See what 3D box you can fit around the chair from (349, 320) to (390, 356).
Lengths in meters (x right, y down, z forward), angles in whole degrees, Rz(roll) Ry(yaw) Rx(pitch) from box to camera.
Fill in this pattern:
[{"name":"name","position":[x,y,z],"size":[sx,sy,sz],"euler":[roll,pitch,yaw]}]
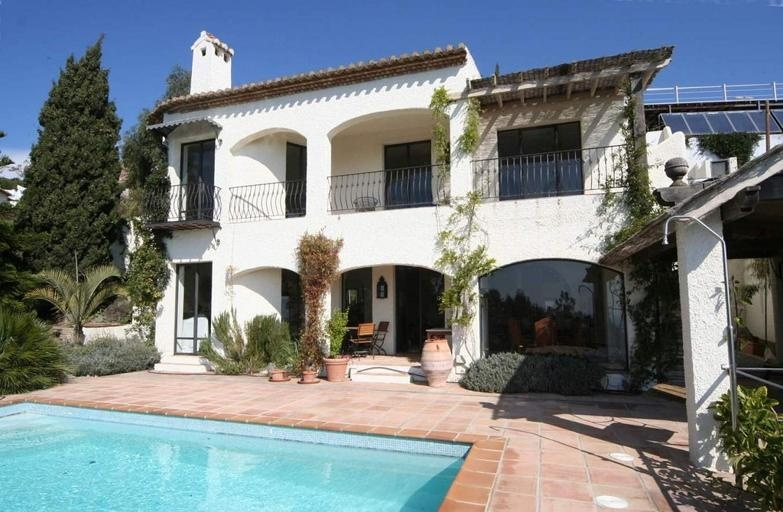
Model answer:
[{"name":"chair","position":[-0.683,2.955,21.825],"size":[1.249,1.698,1.171],"euler":[1,-2,-24]}]

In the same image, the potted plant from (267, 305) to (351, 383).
[{"name":"potted plant","position":[-2.626,2.930,20.407],"size":[2.023,1.938,0.876],"euler":[-1,-9,1]}]

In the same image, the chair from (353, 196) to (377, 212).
[{"name":"chair","position":[-0.863,-1.844,21.857],"size":[0.836,0.517,1.164],"euler":[-2,10,2]}]
